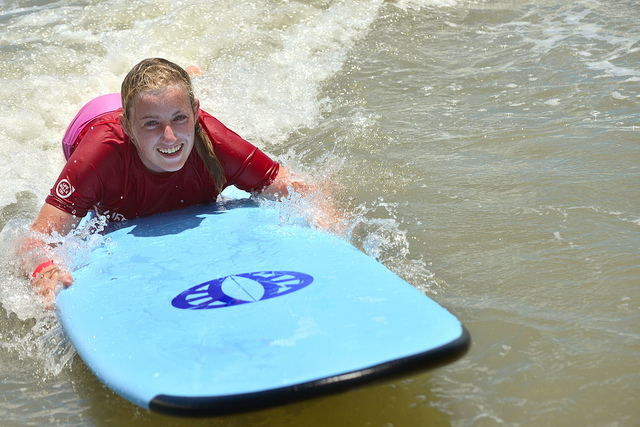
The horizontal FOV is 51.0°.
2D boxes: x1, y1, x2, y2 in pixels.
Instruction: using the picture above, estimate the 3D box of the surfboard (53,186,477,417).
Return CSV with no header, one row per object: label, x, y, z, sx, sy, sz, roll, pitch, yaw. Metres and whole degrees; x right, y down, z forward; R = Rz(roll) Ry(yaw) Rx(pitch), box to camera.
surfboard,-0.639,0.522,4.474,2.041,0.400,3.227,-10,15,-21
